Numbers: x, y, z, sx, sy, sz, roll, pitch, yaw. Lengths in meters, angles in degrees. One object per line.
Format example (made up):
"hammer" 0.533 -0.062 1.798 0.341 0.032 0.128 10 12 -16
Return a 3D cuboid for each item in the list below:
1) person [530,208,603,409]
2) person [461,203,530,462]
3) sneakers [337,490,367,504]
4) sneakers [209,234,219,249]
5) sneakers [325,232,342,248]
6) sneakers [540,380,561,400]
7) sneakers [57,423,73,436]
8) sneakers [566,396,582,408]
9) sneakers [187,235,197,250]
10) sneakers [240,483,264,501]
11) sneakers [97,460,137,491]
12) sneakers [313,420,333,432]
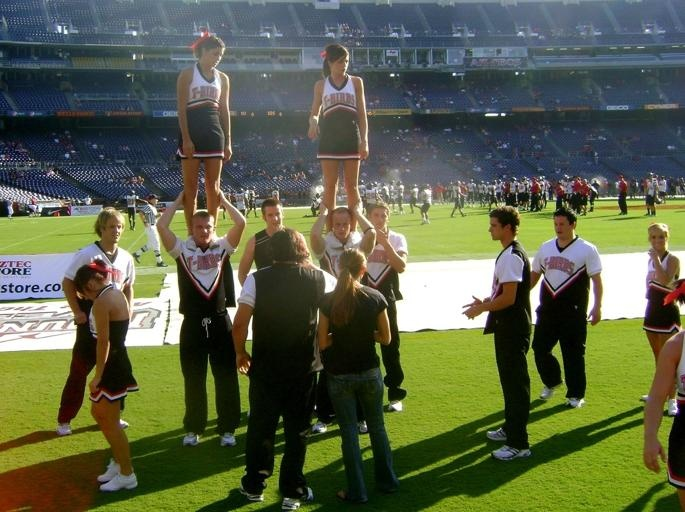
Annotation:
"person" 2.852 0.639 8.157 0.855 2.515 0.758 5 12 29
"person" 1.791 0.824 7.058 0.690 2.662 1.011 1 11 13
"sneakers" 0.080 2.361 6.176 0.237 0.103 0.114 1 5 22
"sneakers" -1.549 -0.205 7.537 0.086 0.109 0.238 -2 12 -3
"sneakers" -0.136 -0.184 7.699 0.119 0.180 0.261 -11 15 -42
"sneakers" 2.780 1.793 8.396 0.363 0.160 0.120 -21 15 -38
"sneakers" -3.305 2.060 7.456 0.168 0.125 0.109 6 9 25
"sneakers" 2.944 1.865 7.964 0.126 0.058 0.130 3 7 30
"sneakers" -1.810 -0.161 7.431 0.099 0.147 0.143 -9 13 -35
"sneakers" -0.898 2.370 6.231 0.113 0.128 0.265 2 -1 -31
"sneakers" -2.318 2.271 6.447 0.277 0.117 0.276 11 -6 -26
"sneakers" -0.261 2.101 7.695 0.255 0.112 0.084 2 -8 -45
